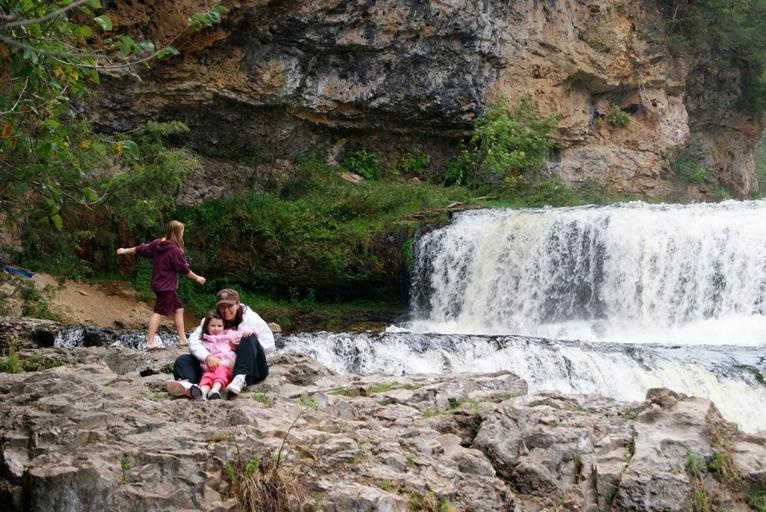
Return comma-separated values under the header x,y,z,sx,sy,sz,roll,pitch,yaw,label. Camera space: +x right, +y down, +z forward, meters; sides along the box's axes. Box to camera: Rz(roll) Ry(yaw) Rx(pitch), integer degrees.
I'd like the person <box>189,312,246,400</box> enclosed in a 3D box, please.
x,y,z,sx,sy,sz,roll,pitch,yaw,label
-2.904,1.679,16.186,0.964,1.123,1.811,-1,18,-2,person
